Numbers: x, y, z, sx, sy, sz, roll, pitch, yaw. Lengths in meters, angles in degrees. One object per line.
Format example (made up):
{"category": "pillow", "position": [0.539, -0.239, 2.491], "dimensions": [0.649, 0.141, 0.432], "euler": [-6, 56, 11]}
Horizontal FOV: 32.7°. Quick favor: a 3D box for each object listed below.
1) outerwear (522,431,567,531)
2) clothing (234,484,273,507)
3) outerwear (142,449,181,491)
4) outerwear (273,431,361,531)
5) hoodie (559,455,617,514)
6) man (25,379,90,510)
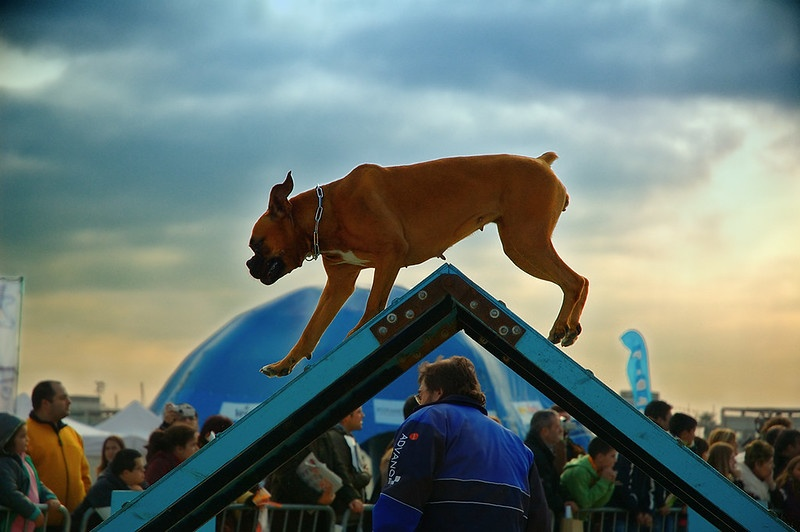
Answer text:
{"category": "outerwear", "position": [1.888, 2.791, 17.670], "dimensions": [0.802, 1.087, 0.398], "euler": [-13, -6, 3]}
{"category": "clothing", "position": [-1.820, 2.887, 16.874], "dimensions": [0.348, 0.239, 0.458], "euler": [-23, -13, -33]}
{"category": "outerwear", "position": [-3.035, 2.556, 17.143], "dimensions": [0.497, 0.430, 0.295], "euler": [-3, -12, 34]}
{"category": "outerwear", "position": [-1.143, 2.752, 16.734], "dimensions": [0.528, 0.984, 1.285], "euler": [18, -28, 51]}
{"category": "hoodie", "position": [2.449, 2.923, 18.067], "dimensions": [0.783, 0.798, 0.520], "euler": [4, 6, 15]}
{"category": "man", "position": [-4.369, 2.390, 17.252], "dimensions": [0.529, 1.743, 1.029], "euler": [-5, -2, 39]}
